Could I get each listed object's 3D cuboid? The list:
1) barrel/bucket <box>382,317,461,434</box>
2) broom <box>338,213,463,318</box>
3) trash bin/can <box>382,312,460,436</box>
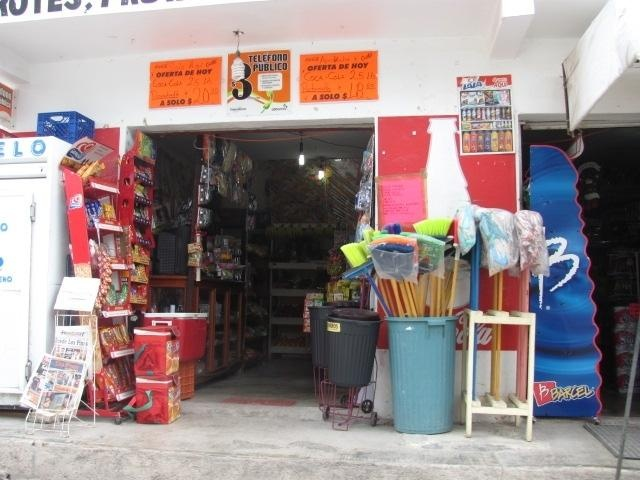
[{"bbox_3d":[0.910,1.154,4.904,0.580,1.010,0.557,7,2,0],"label":"barrel/bucket"},{"bbox_3d":[0.741,0.260,4.895,1.010,0.889,0.737,0,-3,6],"label":"broom"},{"bbox_3d":[0.851,1.174,4.927,0.553,1.015,0.573,6,2,-12],"label":"trash bin/can"}]
